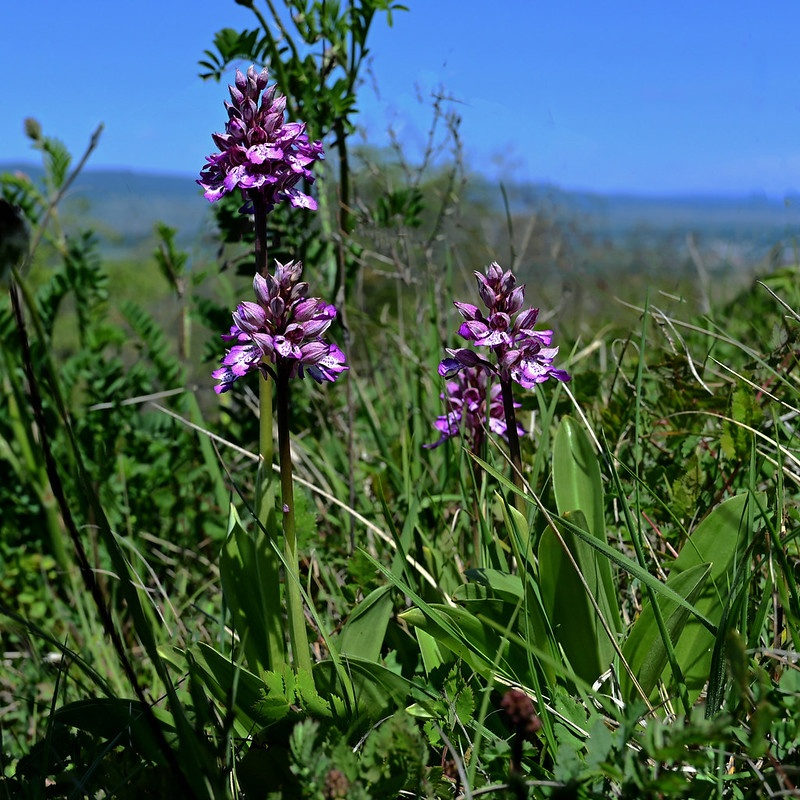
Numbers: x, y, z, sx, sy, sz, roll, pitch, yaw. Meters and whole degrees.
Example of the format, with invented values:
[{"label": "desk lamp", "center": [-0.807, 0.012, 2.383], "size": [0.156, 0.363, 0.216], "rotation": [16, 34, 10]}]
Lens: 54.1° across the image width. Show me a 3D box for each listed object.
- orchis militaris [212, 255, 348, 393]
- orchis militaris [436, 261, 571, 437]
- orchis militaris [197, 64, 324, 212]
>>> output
[{"label": "orchis militaris", "center": [-0.268, -0.128, 1.813], "size": [0.230, 0.303, 0.291], "rotation": [16, 18, 15]}, {"label": "orchis militaris", "center": [0.258, -0.189, 1.957], "size": [0.325, 0.312, 0.234], "rotation": [-2, 9, 4]}, {"label": "orchis militaris", "center": [-0.341, -0.632, 1.898], "size": [0.311, 0.351, 0.232], "rotation": [-6, 10, -18]}]
